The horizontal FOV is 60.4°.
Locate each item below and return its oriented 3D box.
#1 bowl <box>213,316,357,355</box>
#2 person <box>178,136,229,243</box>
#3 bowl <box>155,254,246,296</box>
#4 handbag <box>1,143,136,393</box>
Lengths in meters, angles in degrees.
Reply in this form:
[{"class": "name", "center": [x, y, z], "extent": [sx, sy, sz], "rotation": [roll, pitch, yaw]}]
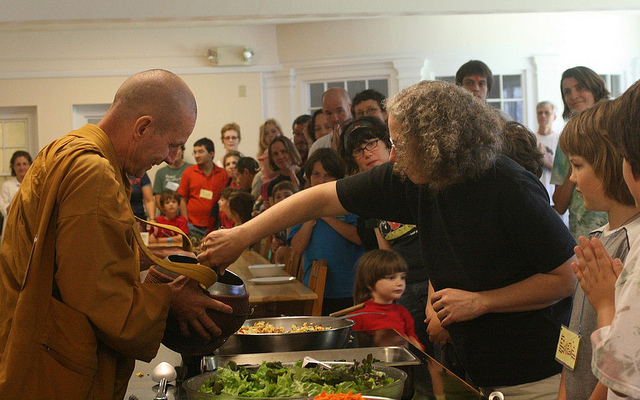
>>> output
[{"class": "bowl", "center": [-0.124, 0.596, 2.444], "extent": [0.519, 0.129, 0.542], "rotation": [-3, 4, 0]}, {"class": "person", "center": [-1.603, 0.143, 7.695], "extent": [0.802, 1.945, 0.545], "rotation": [0, 11, -15]}, {"class": "bowl", "center": [-0.472, 0.295, 2.172], "extent": [0.335, 0.160, 0.233], "rotation": [-4, 4, -16]}, {"class": "handbag", "center": [-0.930, 0.272, 1.979], "extent": [0.437, 0.944, 0.175], "rotation": [-5, 5, -20]}]
